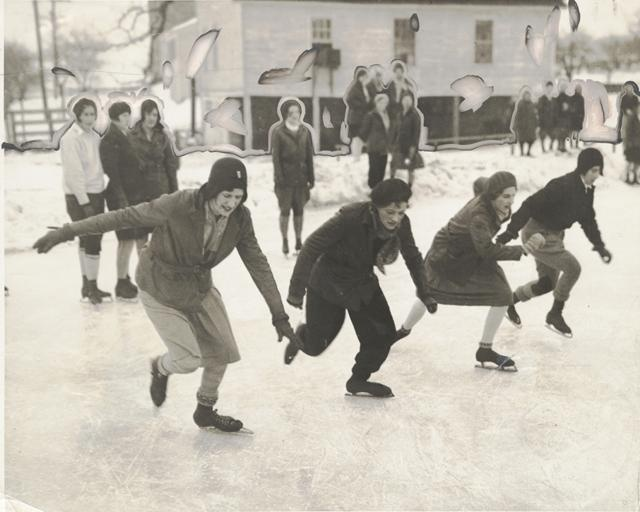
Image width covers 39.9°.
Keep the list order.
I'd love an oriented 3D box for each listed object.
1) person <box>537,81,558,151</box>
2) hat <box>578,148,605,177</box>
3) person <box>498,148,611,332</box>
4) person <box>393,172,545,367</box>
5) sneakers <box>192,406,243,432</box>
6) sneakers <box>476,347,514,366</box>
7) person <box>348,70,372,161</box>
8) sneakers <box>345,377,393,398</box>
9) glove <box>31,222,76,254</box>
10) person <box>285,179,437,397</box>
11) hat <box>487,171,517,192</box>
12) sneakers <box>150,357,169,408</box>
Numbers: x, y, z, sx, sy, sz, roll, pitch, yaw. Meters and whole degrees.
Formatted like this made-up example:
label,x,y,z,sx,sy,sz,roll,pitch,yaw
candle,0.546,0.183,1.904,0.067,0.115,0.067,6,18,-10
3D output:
label,x,y,z,sx,sy,sz,roll,pitch,yaw
person,2.449,-1.504,9.484,0.204,0.781,0.381,4,12,16
hat,2.293,-0.807,7.463,0.210,0.260,0.168,14,12,18
person,2.158,-0.108,8.080,1.018,2.206,0.752,9,28,20
person,1.207,0.082,7.331,1.479,1.745,0.661,12,23,41
sneakers,-0.756,1.196,6.431,0.205,0.158,0.084,11,50,-8
sneakers,1.423,0.836,7.256,0.310,0.176,0.144,6,13,-4
person,0.405,-1.509,9.088,0.237,0.913,0.266,3,11,10
sneakers,0.370,0.990,6.802,0.400,0.191,0.157,-1,6,-2
glove,-1.765,-0.066,5.855,0.270,0.135,0.187,-24,31,-8
person,0.238,0.172,6.627,1.270,1.886,0.804,10,20,21
hat,1.425,-0.603,6.861,0.162,0.138,0.164,-14,31,-32
sneakers,-1.169,0.933,6.422,0.113,0.377,0.128,-6,12,-24
